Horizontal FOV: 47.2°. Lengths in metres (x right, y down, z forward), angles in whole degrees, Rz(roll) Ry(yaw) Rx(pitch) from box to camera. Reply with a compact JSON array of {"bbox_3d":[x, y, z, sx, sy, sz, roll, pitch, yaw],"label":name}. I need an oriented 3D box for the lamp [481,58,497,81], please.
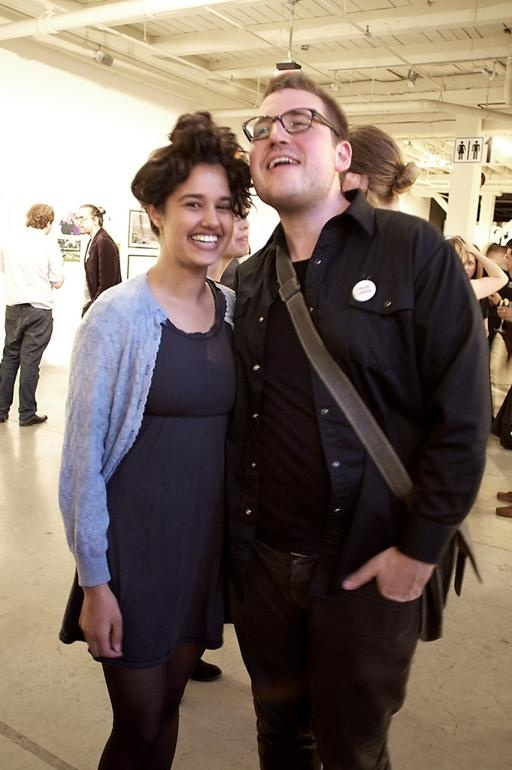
[{"bbox_3d":[3.775,-5.094,9.486,0.254,0.122,0.332,5,-27,12],"label":"lamp"}]
